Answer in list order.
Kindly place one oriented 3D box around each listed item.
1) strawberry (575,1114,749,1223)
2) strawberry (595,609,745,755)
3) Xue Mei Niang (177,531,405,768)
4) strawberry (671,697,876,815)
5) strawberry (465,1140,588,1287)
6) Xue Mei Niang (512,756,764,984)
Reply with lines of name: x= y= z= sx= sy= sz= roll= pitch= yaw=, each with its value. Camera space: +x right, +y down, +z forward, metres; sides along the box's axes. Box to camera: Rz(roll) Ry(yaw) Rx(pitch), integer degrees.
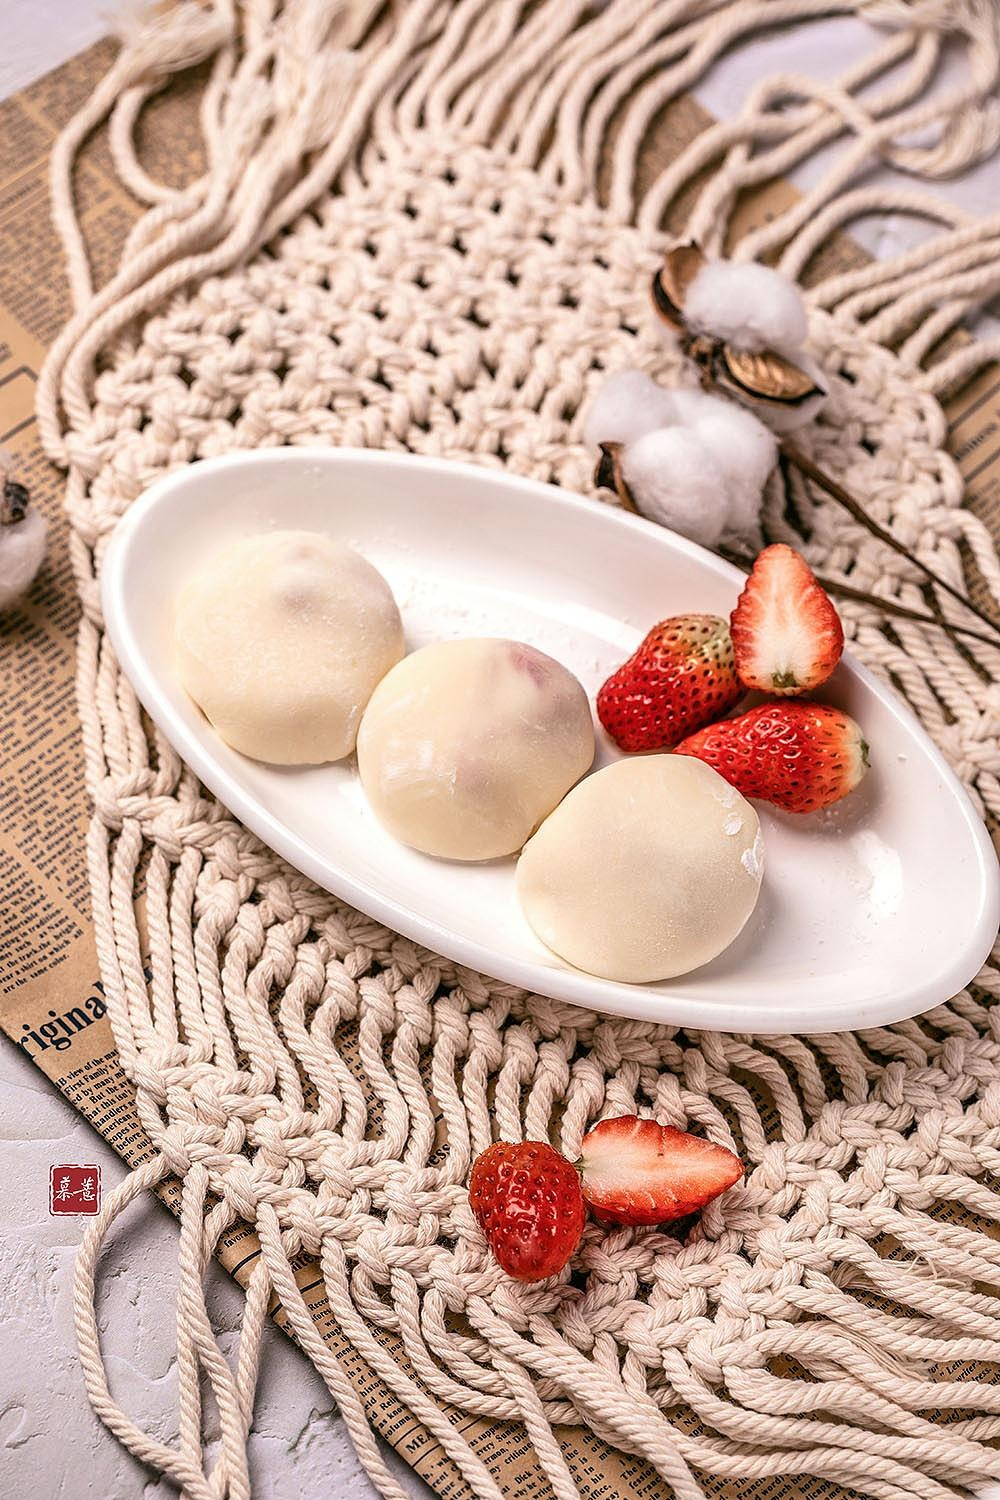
strawberry: x=0.083 y=0.228 z=0.831 sx=0.099 sy=0.035 sz=0.056 roll=8 pitch=58 yaw=-18
strawberry: x=0.098 y=-0.036 z=0.874 sx=0.086 sy=0.046 sz=0.065 roll=-39 pitch=104 yaw=9
Xue Mei Niang: x=-0.120 y=-0.065 z=0.884 sx=0.139 sy=0.123 sz=0.047 roll=-4 pitch=34 yaw=-34
strawberry: x=0.155 y=0.006 z=0.864 sx=0.104 sy=0.052 sz=0.054 roll=-3 pitch=68 yaw=15
strawberry: x=0.014 y=0.241 z=0.815 sx=0.066 sy=0.045 sz=0.071 roll=3 pitch=55 yaw=-15
Xue Mei Niang: x=0.075 y=0.060 z=0.834 sx=0.145 sy=0.033 sz=0.121 roll=-34 pitch=98 yaw=-21
